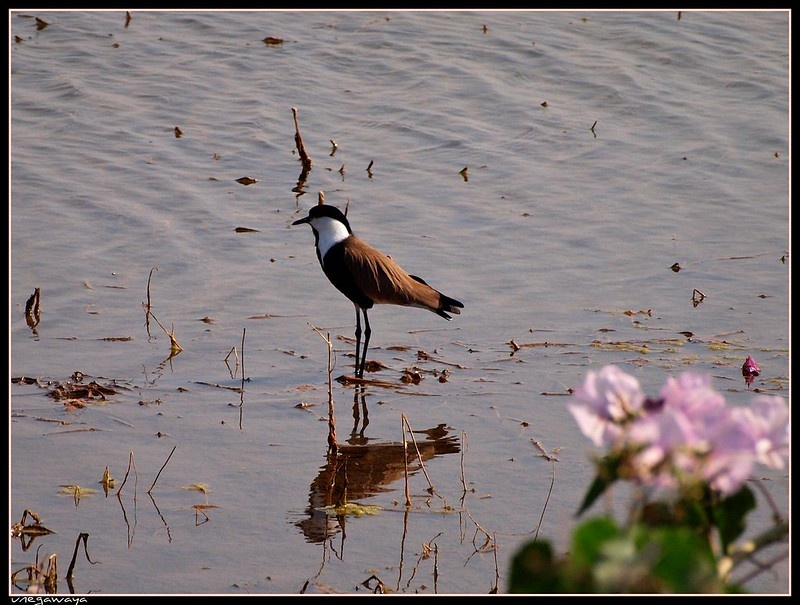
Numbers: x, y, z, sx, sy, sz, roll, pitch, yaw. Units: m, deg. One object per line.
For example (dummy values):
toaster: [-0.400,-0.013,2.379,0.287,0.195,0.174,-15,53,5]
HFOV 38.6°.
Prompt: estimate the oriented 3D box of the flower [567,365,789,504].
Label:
flower: [1.465,0.697,6.085,1.118,0.680,0.234,3,6,11]
